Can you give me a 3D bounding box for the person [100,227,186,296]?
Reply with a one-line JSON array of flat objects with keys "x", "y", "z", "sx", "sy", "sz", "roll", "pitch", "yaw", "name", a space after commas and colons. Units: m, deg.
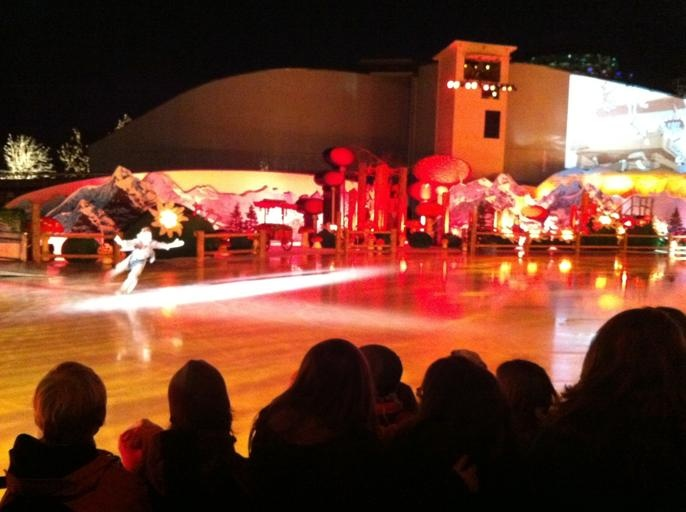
[{"x": -3.755, "y": 0.091, "z": 10.372, "sx": 1.411, "sy": 1.265, "sz": 0.355, "roll": 11, "pitch": 31, "yaw": -39, "name": "person"}]
